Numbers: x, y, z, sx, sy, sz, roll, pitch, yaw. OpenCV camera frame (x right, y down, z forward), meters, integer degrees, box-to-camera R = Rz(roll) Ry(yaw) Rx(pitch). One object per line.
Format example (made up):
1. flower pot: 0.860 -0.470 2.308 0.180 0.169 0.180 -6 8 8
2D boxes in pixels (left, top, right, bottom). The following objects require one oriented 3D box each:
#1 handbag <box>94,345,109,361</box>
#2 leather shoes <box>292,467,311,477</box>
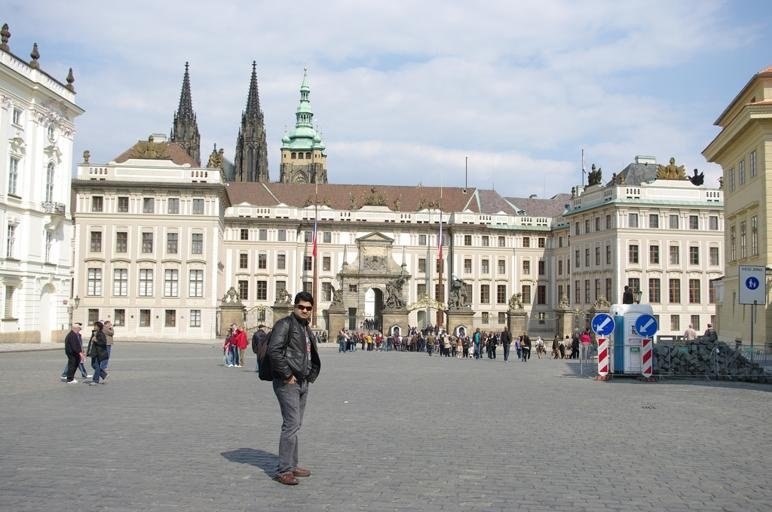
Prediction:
1. handbag: -9.701 3.348 34.592 0.490 0.603 0.418 -9 -19 -4
2. leather shoes: -1.958 5.005 23.327 0.351 0.129 0.195 0 5 -15
